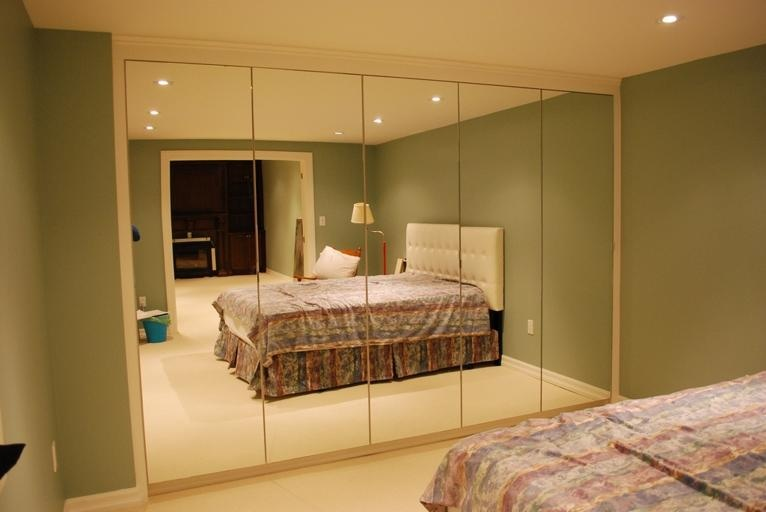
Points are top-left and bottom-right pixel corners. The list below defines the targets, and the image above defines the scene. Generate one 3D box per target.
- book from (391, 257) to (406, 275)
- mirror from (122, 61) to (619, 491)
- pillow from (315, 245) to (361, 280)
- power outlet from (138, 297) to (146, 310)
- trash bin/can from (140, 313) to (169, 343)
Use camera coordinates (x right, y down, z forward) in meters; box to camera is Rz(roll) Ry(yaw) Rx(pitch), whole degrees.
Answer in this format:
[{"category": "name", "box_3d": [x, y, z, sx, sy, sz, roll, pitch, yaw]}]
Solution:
[{"category": "book", "box_3d": [0.137, 0.081, 4.244, 0.110, 0.122, 0.029, -1, 3, -34]}, {"category": "mirror", "box_3d": [-0.230, 0.125, 3.970, 2.628, 2.108, 0.065, -5, 7, -17]}, {"category": "pillow", "box_3d": [-0.413, 0.105, 4.248, 0.348, 0.109, 0.364, 1, -12, -23]}, {"category": "power outlet", "box_3d": [-1.611, 0.319, 3.665, 0.017, 0.071, 0.069, 4, 2, 27]}, {"category": "trash bin/can", "box_3d": [-1.533, 0.489, 3.699, 0.164, 0.165, 0.173, -5, -3, -16]}]
